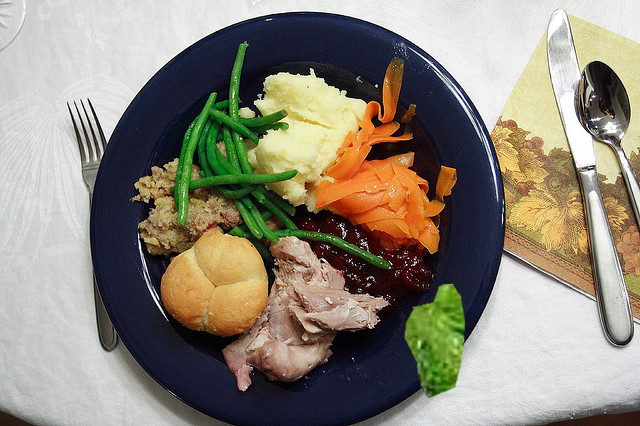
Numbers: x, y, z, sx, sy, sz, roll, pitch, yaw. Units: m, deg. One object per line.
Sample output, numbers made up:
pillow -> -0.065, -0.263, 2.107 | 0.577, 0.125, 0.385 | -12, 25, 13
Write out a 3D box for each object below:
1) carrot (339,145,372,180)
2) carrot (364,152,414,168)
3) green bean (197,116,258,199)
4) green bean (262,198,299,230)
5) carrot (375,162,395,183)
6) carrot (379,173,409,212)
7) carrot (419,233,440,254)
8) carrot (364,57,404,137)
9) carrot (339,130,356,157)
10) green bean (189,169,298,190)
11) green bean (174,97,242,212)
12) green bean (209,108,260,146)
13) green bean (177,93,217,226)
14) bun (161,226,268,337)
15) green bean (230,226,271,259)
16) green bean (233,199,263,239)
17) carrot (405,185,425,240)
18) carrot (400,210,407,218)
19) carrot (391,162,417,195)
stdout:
carrot -> 0.191, -0.269, 2.848 | 0.061, 0.178, 0.126 | 22, 11, -19
carrot -> 0.376, -0.286, 2.886 | 0.315, 0.040, 0.106 | 1, 79, 3
green bean -> -0.564, -0.262, 2.858 | 0.310, 0.070, 0.441 | 3, 88, 0
green bean -> -0.218, -0.003, 2.865 | 0.187, 0.045, 0.033 | 41, 56, 1
carrot -> 0.344, -0.214, 2.832 | 0.088, 0.037, 0.096 | -27, 68, -9
carrot -> 0.391, -0.107, 2.757 | 0.113, 0.197, 0.049 | 0, 3, -1
carrot -> 0.597, 0.161, 2.813 | 0.088, 0.023, 0.096 | 0, 91, -14
carrot -> 0.303, -0.561, 2.865 | 0.129, 0.499, 0.157 | 18, 34, 9
carrot -> 0.139, -0.369, 2.822 | 0.044, 0.039, 0.178 | 15, 80, 36
green bean -> -0.378, -0.174, 2.783 | 0.395, 0.047, 0.058 | -8, 77, 11
green bean -> -0.670, -0.388, 2.915 | 0.194, 0.074, 0.729 | 11, 82, -10
green bean -> -0.460, -0.451, 2.854 | 0.286, 0.059, 0.043 | 36, 16, 1
green bean -> -0.674, -0.276, 2.867 | 0.107, 0.082, 0.855 | 14, 82, -14
bun -> -0.517, 0.356, 2.735 | 0.505, 0.154, 0.514 | 38, 90, -7
green bean -> -0.371, 0.145, 2.815 | 0.213, 0.053, 0.038 | 39, 3, -15
green bean -> -0.363, 0.070, 2.811 | 0.049, 0.346, 0.068 | 30, 83, 23
carrot -> 0.498, -0.017, 2.783 | 0.108, 0.336, 0.036 | -6, 34, -7
carrot -> 0.439, 0.003, 2.819 | 0.029, 0.007, 0.031 | 17, 77, -4
carrot -> 0.449, -0.176, 2.815 | 0.095, 0.040, 0.166 | -27, 71, -3
